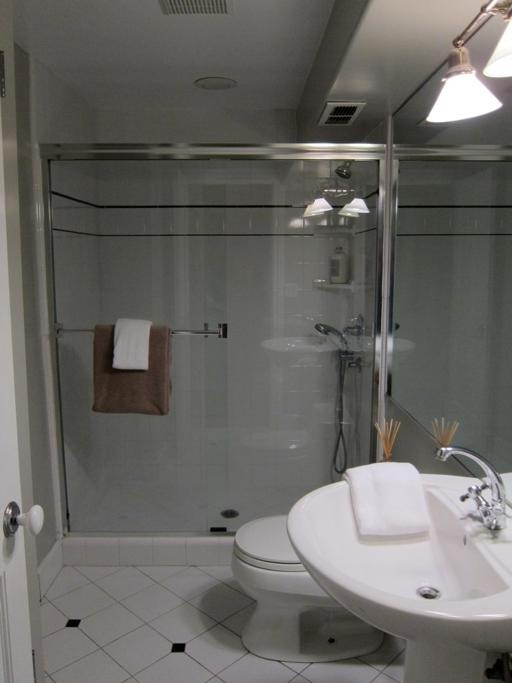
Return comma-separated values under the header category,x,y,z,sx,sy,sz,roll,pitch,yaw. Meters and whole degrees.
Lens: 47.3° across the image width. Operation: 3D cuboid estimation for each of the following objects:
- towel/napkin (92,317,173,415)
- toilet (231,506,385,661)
category,x,y,z,sx,sy,sz,roll,pitch,yaw
towel/napkin,-0.528,0.102,2.417,0.349,0.357,0.119,0,9,4
toilet,0.216,0.854,2.118,0.566,0.393,0.445,-5,10,-6
